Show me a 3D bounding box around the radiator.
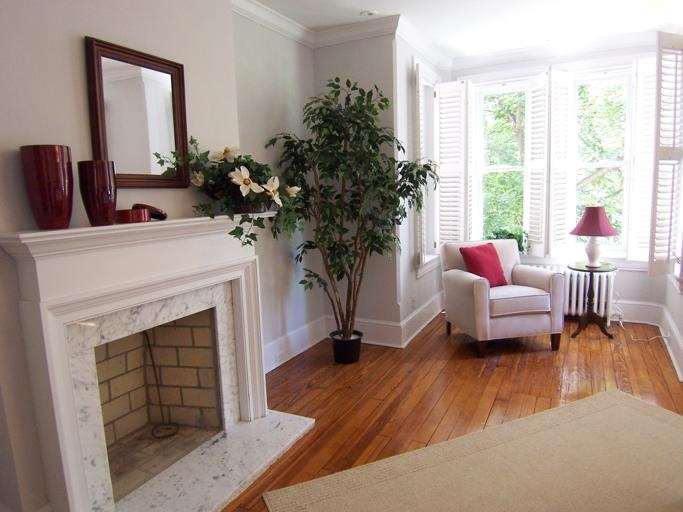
[{"bbox_3d":[2.283,0.383,4.849,0.583,0.463,0.087,1,2,34],"label":"radiator"}]

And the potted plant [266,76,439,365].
[{"bbox_3d":[-0.021,-0.317,4.360,1.689,2.432,1.101,-13,19,-40],"label":"potted plant"}]

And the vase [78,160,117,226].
[{"bbox_3d":[-1.262,-0.328,2.572,0.172,0.330,0.120,-7,15,-21],"label":"vase"}]

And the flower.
[{"bbox_3d":[-0.580,-0.463,3.265,0.493,0.400,0.565,12,14,-8],"label":"flower"}]

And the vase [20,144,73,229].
[{"bbox_3d":[-1.428,-0.339,2.438,0.203,0.401,0.127,-9,16,-28],"label":"vase"}]

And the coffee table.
[{"bbox_3d":[2.491,0.402,4.969,0.457,0.692,0.562,4,15,19],"label":"coffee table"}]
